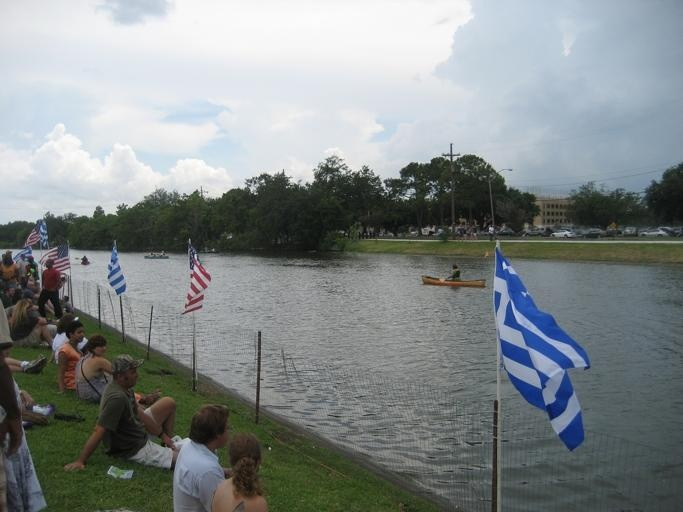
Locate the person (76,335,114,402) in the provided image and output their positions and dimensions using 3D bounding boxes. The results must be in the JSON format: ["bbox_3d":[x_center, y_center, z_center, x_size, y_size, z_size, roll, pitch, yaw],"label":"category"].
[{"bbox_3d":[-6.060,2.826,16.095,0.665,1.642,1.000,32,36,21],"label":"person"}]

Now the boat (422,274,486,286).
[{"bbox_3d":[9.240,2.042,54.323,3.636,0.680,0.902,0,0,40],"label":"boat"}]
